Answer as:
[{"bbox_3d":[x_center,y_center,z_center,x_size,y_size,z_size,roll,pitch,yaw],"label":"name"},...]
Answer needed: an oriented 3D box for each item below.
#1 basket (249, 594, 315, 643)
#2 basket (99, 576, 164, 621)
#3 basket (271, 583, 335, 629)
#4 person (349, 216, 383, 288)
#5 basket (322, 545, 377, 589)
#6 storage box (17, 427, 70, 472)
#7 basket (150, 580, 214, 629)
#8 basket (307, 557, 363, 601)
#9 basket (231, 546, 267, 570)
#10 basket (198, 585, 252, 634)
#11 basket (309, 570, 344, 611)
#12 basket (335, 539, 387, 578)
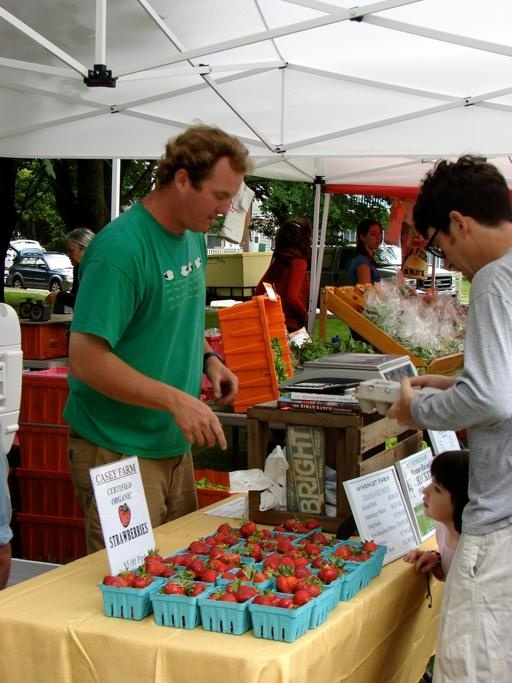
[{"bbox_3d":[0.054,0.565,1.055,0.107,0.059,0.134,-3,-19,16],"label":"basket"},{"bbox_3d":[-0.292,0.584,1.160,0.081,0.047,0.115,2,0,12],"label":"basket"},{"bbox_3d":[0.102,0.547,1.086,0.092,0.047,0.136,-12,-14,24],"label":"basket"},{"bbox_3d":[1.436,-1.209,6.825,0.383,0.915,0.863,1,5,12],"label":"person"},{"bbox_3d":[0.270,0.620,1.448,0.089,0.052,0.151,-2,-5,21],"label":"basket"},{"bbox_3d":[-1.517,0.751,3.719,0.420,0.236,0.306,-1,-5,27],"label":"storage box"},{"bbox_3d":[-0.169,0.556,1.108,0.076,0.049,0.106,-2,-11,18],"label":"basket"},{"bbox_3d":[0.194,0.592,1.305,0.093,0.053,0.135,0,-16,30],"label":"basket"},{"bbox_3d":[-0.028,0.595,1.421,0.059,0.026,0.084,5,-8,-27],"label":"basket"},{"bbox_3d":[-0.068,0.542,1.058,0.076,0.046,0.101,-3,-13,18],"label":"basket"},{"bbox_3d":[0.169,0.568,1.175,0.075,0.067,0.109,-9,-16,24],"label":"basket"},{"bbox_3d":[0.279,0.601,1.445,0.106,0.063,0.162,0,-4,23],"label":"basket"}]
